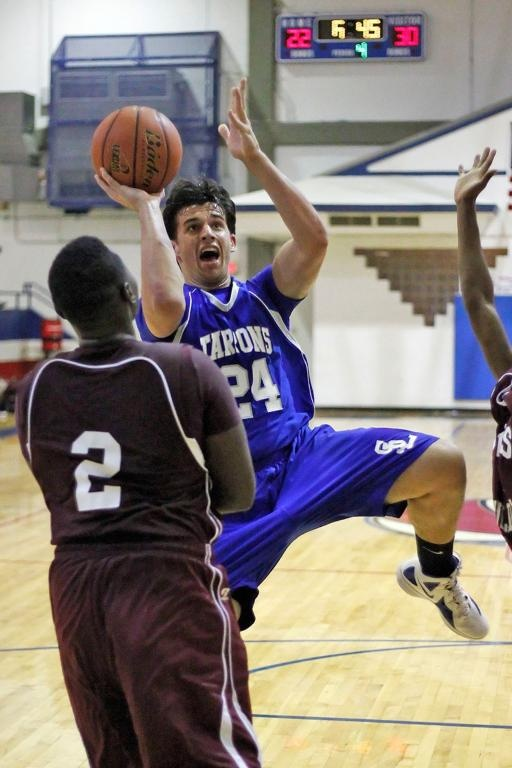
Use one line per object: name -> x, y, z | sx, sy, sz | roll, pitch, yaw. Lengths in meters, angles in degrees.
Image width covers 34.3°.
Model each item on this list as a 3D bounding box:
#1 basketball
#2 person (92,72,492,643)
basketball -> -0.272, -0.537, 1.900 | 0.200, 0.206, 0.174 | -2, 0, -8
person -> 0.014, 0.038, 2.057 | 0.787, 1.422, 0.706 | -14, -7, -7
